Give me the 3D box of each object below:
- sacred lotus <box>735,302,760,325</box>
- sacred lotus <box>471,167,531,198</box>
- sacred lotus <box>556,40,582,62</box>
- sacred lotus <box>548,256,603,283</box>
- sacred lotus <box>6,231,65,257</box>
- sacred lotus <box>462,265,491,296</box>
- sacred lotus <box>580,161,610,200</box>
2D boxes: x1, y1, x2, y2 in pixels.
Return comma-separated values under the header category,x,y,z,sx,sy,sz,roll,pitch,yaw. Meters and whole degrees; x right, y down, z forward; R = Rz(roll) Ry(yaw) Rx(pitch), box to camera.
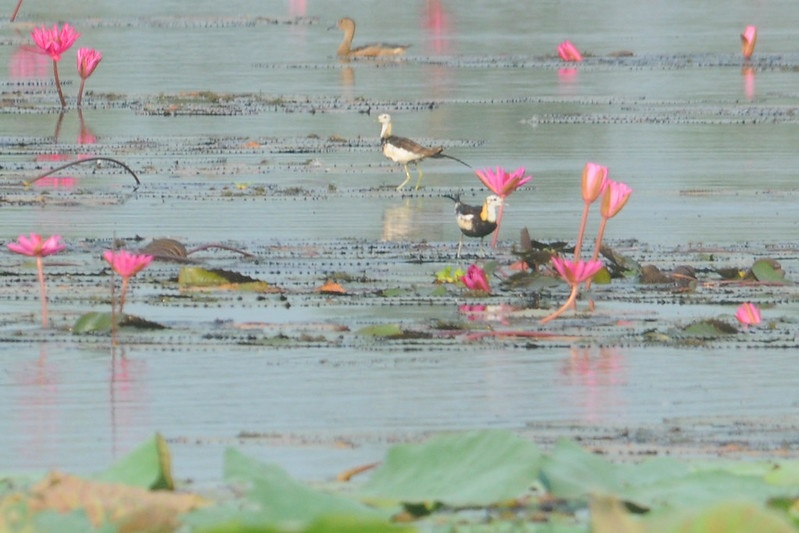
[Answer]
category,x,y,z,sx,sy,sz,roll,pitch,yaw
sacred lotus,4.650,0.617,29.312,0.311,0.298,0.141,1,9,6
sacred lotus,1.490,-1.205,30.950,0.703,0.361,0.659,5,13,-23
sacred lotus,3.673,-4.584,47.203,0.503,0.400,0.806,1,8,6
sacred lotus,2.318,0.032,29.218,0.458,0.205,0.454,0,8,-27
sacred lotus,-4.779,-0.262,29.193,0.655,0.282,0.481,-7,-3,12
sacred lotus,1.072,0.189,29.890,0.320,0.212,0.430,-19,52,-5
sacred lotus,2.639,-1.123,29.720,0.322,0.549,0.364,0,9,4
